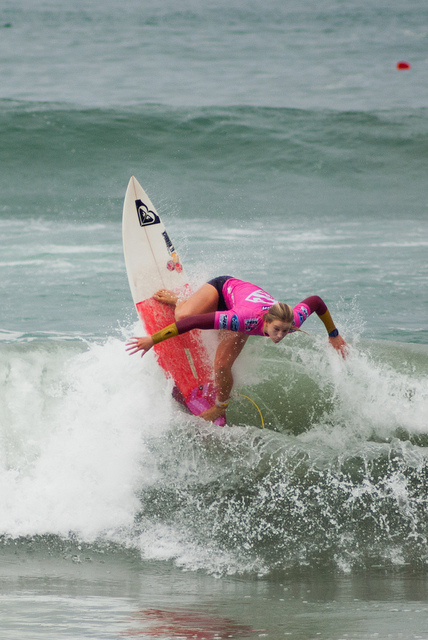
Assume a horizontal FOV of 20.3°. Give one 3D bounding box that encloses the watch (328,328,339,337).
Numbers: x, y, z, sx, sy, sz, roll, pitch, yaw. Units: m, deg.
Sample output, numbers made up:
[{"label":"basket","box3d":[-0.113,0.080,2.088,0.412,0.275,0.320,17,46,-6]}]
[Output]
[{"label":"watch","box3d":[1.255,0.128,12.497,0.103,0.094,0.104,-4,10,2]}]
